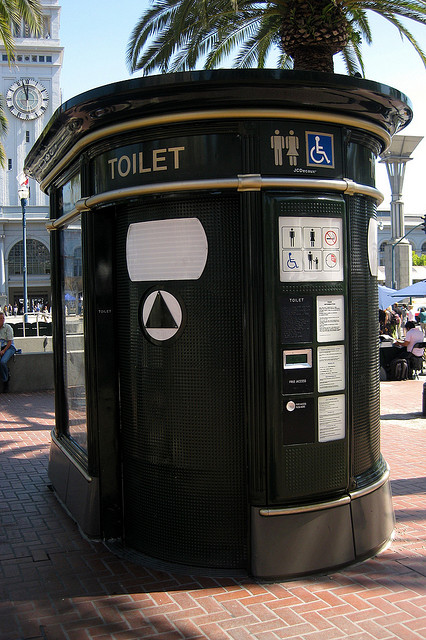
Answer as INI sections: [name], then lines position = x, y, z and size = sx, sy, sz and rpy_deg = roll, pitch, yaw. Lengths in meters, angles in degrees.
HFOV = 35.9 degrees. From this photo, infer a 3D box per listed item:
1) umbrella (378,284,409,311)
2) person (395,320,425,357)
[umbrella]
position = 6.736, -0.775, 24.381
size = 1.390, 0.618, 1.401
rpy_deg = -4, 5, 8
[person]
position = 4.382, 0.448, 14.596
size = 0.577, 0.827, 1.101
rpy_deg = -1, 0, 16
